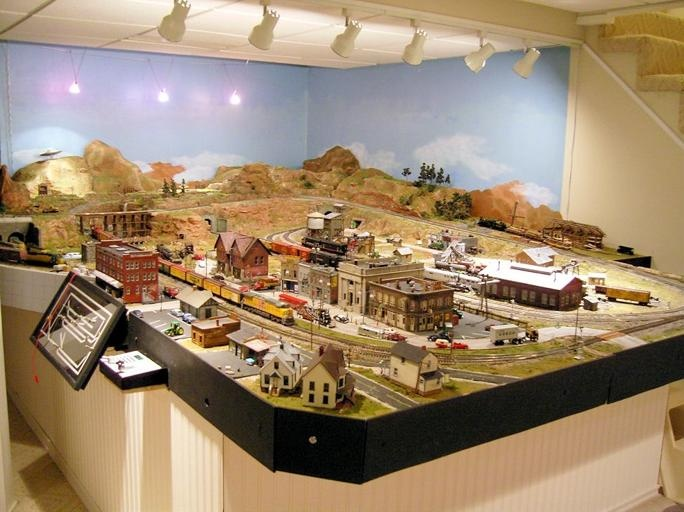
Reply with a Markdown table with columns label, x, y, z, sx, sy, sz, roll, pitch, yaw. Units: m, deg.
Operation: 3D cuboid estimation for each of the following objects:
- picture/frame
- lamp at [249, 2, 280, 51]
| label | x | y | z | sx | sy | sz | roll | pitch | yaw |
| --- | --- | --- | --- | --- | --- | --- | --- | --- | --- |
| picture/frame | -3.801 | 1.017 | 7.660 | 0.242 | 1.425 | 2.193 | 25 | 1 | -38 |
| lamp | -1.025 | -3.055 | 6.932 | 0.341 | 0.684 | 0.799 | -1 | 7 | -8 |
